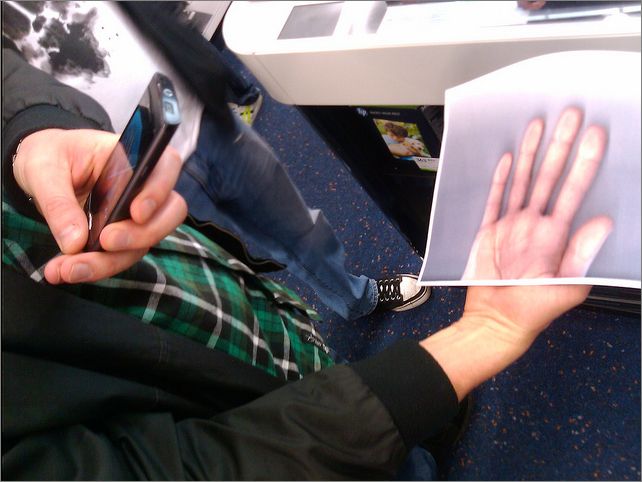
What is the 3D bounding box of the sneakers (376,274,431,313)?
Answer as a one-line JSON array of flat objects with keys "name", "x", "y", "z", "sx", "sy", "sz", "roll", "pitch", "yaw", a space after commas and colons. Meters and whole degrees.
[{"name": "sneakers", "x": 0.248, "y": 0.164, "z": 1.457, "sx": 0.210, "sy": 0.077, "sz": 0.089, "roll": -15, "pitch": 73, "yaw": 49}]
